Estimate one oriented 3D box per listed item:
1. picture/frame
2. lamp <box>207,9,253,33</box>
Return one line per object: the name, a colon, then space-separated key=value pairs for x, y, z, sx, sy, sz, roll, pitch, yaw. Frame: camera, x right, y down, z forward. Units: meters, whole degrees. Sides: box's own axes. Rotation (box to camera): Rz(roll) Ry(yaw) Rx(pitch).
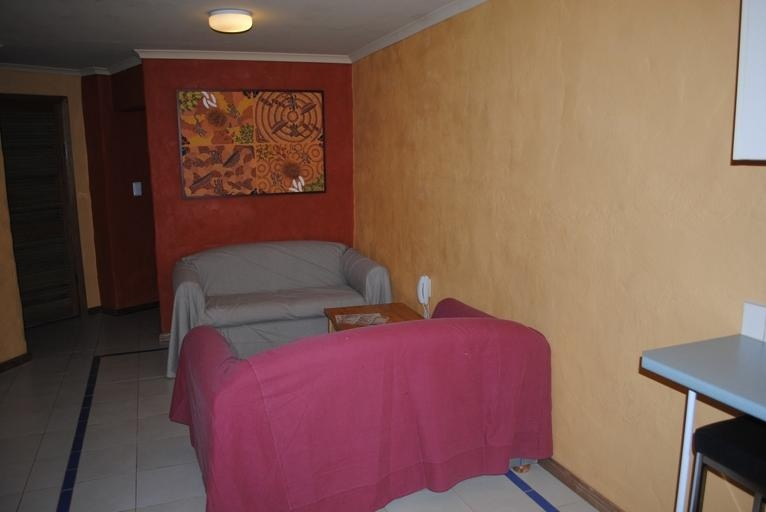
picture/frame: x=-1.427 y=-1.207 z=5.719 sx=1.164 sy=0.868 sz=0.040 roll=-4 pitch=14 yaw=-18
lamp: x=-1.179 y=-1.836 z=4.297 sx=0.306 sy=0.133 sz=0.221 roll=-8 pitch=15 yaw=-21
